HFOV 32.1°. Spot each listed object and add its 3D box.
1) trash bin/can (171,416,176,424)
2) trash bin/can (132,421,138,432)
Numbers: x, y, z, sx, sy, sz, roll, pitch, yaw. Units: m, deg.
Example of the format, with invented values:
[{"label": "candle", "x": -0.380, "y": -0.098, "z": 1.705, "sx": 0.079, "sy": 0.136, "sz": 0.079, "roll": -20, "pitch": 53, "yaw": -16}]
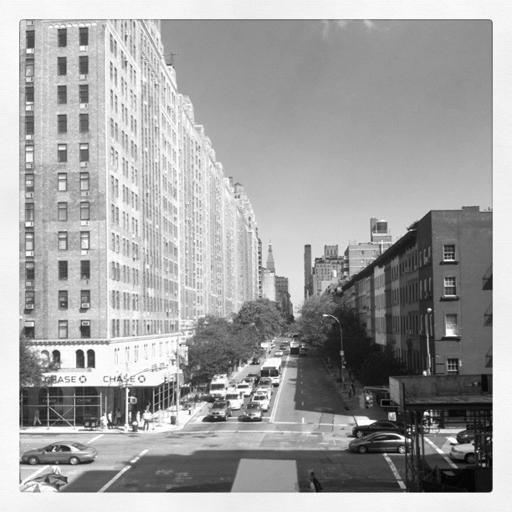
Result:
[{"label": "trash bin/can", "x": -6.640, "y": 13.272, "z": 71.867, "sx": 0.380, "sy": 0.542, "sz": 0.429, "roll": 1, "pitch": -3, "yaw": -8}, {"label": "trash bin/can", "x": -9.359, "y": 13.155, "z": 68.787, "sx": 0.449, "sy": 0.757, "sz": 0.667, "roll": -1, "pitch": -6, "yaw": -2}]
